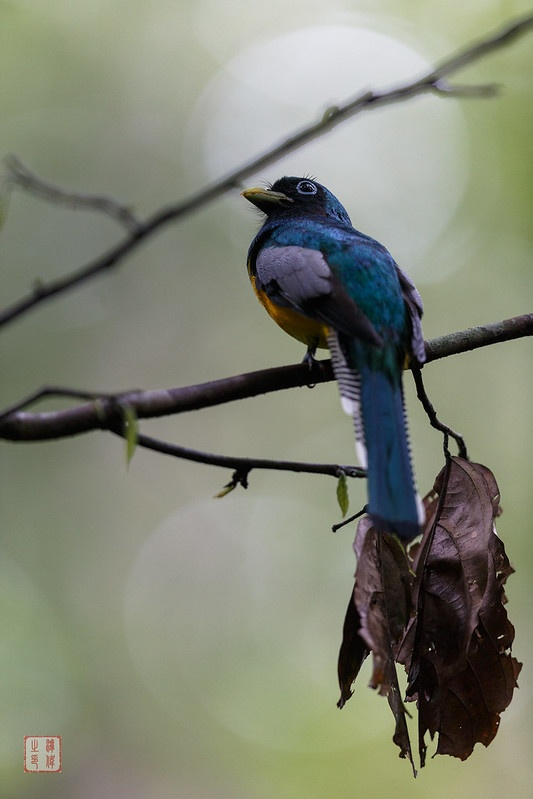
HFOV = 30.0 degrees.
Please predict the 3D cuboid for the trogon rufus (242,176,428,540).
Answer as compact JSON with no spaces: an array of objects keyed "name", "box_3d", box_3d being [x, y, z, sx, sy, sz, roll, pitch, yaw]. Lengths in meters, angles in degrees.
[{"name":"trogon rufus","box_3d":[0.217,-0.145,3.042,0.423,1.317,0.577,-6,-60,-19]}]
